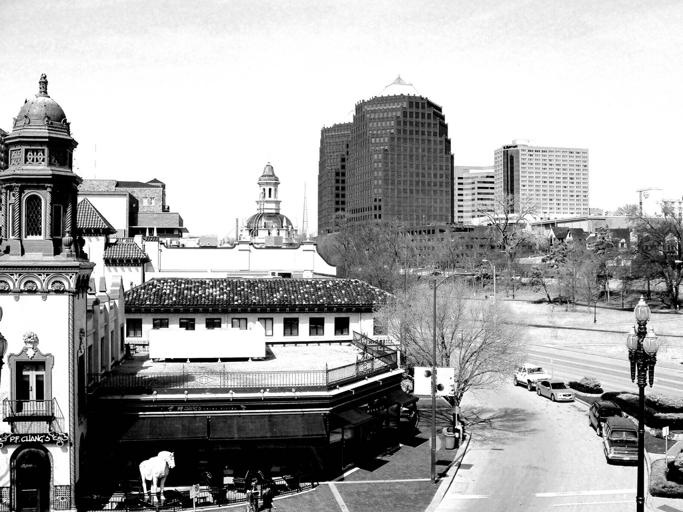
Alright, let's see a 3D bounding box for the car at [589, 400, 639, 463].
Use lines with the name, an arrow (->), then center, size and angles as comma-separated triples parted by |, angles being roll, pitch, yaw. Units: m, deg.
car -> 17.627, 11.502, 87.476 | 2.649, 2.034, 7.383 | -1, 5, 2
